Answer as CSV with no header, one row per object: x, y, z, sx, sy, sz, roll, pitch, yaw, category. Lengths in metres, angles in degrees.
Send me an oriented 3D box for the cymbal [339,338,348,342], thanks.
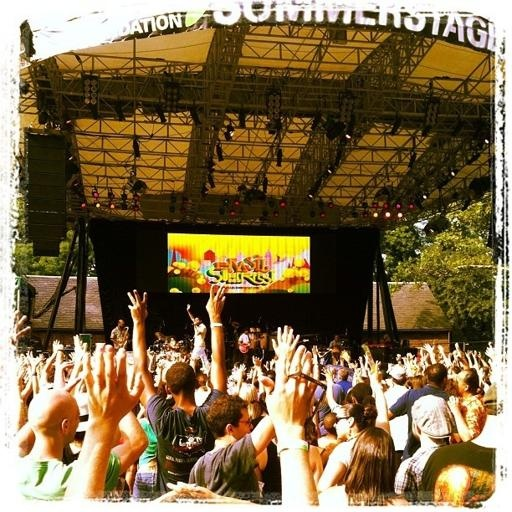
2.872,2.772,16.940,0.284,0.076,0.266,-2,0,-44,cymbal

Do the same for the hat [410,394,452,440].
1.211,1.094,3.615,0.197,0.283,0.292,0,-51,2,hat
